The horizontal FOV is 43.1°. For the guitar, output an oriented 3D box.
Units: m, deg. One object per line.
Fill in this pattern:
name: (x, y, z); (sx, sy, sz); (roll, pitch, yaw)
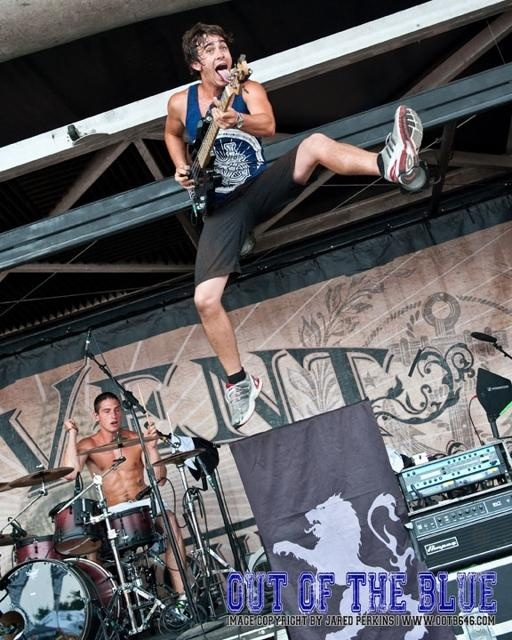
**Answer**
guitar: (-0.160, -0.804, 2.902); (0.120, 0.279, 0.797); (-16, -16, -21)

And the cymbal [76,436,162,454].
cymbal: (-1.131, 1.025, 5.316); (0.477, 0.097, 0.479); (-15, -13, 39)

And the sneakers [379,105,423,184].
sneakers: (0.569, -0.687, 2.662); (0.154, 0.332, 0.183); (16, -13, -33)

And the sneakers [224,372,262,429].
sneakers: (-0.060, 0.375, 3.190); (0.158, 0.314, 0.124); (31, -47, -15)

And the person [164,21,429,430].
person: (0.116, -0.498, 3.027); (0.909, 1.818, 1.218); (-6, -18, -20)

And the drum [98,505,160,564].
drum: (-0.902, 1.506, 4.681); (0.411, 0.258, 0.368); (-1, -29, -36)

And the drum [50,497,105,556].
drum: (-1.269, 1.460, 4.582); (0.352, 0.300, 0.343); (-30, -42, 10)

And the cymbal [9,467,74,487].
cymbal: (-1.597, 1.153, 4.743); (0.330, 0.057, 0.320); (-23, -14, 22)
